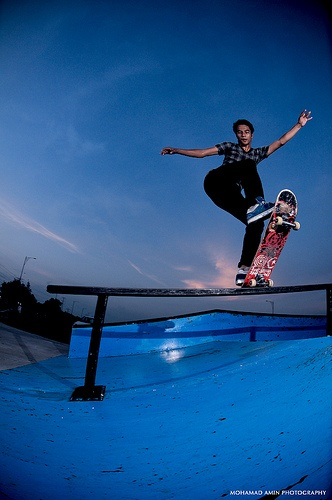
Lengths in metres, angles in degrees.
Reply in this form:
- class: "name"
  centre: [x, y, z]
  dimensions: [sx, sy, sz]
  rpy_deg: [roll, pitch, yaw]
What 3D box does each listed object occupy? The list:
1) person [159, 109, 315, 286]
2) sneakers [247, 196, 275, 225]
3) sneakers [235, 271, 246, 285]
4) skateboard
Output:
- class: "person"
  centre: [0.852, -0.737, 4.574]
  dimensions: [1.540, 2.412, 0.969]
  rpy_deg: [1, -19, 20]
- class: "sneakers"
  centre: [1.035, -0.409, 4.209]
  dimensions: [0.303, 0.243, 0.161]
  rpy_deg: [0, -2, 11]
- class: "sneakers"
  centre: [0.823, 0.332, 4.319]
  dimensions: [0.141, 0.169, 0.212]
  rpy_deg: [1, -2, -8]
- class: "skateboard"
  centre: [1.066, -0.167, 4.102]
  dimensions: [0.280, 1.122, 0.153]
  rpy_deg: [19, 8, -30]
